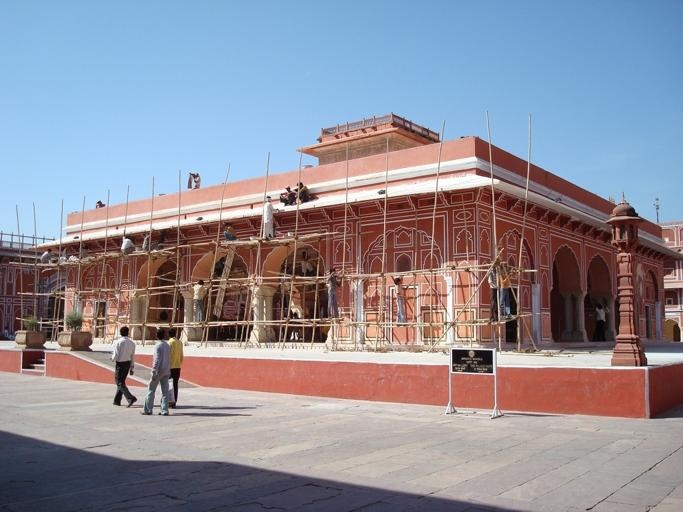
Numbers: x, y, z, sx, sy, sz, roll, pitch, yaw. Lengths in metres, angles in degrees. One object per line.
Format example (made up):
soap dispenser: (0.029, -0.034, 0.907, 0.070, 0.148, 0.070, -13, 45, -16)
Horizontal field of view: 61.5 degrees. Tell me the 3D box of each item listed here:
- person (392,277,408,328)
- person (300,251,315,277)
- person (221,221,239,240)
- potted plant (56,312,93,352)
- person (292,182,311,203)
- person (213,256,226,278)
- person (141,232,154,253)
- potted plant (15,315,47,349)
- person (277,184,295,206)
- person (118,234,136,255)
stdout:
person: (2.060, 1.492, 19.913, 0.434, 1.544, 1.010, 0, -3, 5)
person: (-1.553, 0.380, 26.481, 1.001, 0.961, 0.991, -5, 15, 8)
person: (-4.577, -1.085, 23.781, 0.524, 0.596, 1.280, -12, -2, -12)
potted plant: (-8.998, 2.511, 19.439, 0.815, 1.150, 0.968, -3, -6, 25)
person: (-1.554, -2.517, 22.837, 0.812, 1.045, 0.585, -8, 6, 9)
person: (-5.581, 0.524, 26.287, 0.416, 0.945, 0.794, 1, -4, -15)
person: (-8.666, -0.584, 26.051, 0.679, 0.716, 1.256, 2, -1, -18)
potted plant: (-11.110, 2.741, 20.517, 0.870, 1.145, 0.751, -8, -10, 39)
person: (-2.122, -2.378, 23.135, 0.457, 0.814, 1.024, 2, -4, -24)
person: (-9.791, -0.430, 26.299, 0.501, 0.763, 0.520, 1, -4, -16)
